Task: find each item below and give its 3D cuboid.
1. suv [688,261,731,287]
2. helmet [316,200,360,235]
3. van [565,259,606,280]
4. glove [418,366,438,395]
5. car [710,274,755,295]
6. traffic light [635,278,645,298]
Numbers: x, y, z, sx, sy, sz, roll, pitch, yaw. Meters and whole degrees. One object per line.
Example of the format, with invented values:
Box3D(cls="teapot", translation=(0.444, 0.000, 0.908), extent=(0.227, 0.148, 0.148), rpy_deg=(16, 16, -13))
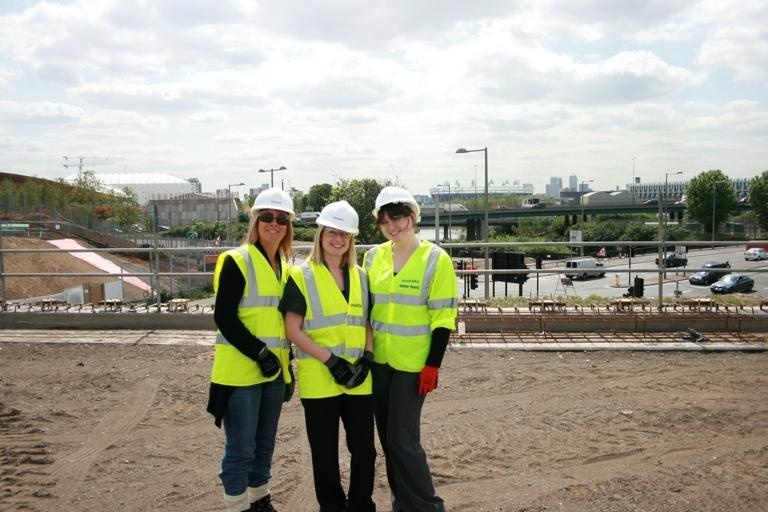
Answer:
Box3D(cls="suv", translation=(13.839, 0.825, 29.471), extent=(2.239, 0.824, 1.081), rpy_deg=(-6, 4, -36))
Box3D(cls="helmet", translation=(-0.494, -0.424, 7.831), extent=(0.369, 0.227, 0.448), rpy_deg=(14, 0, -2))
Box3D(cls="van", translation=(8.587, 0.547, 29.536), extent=(1.072, 0.789, 1.976), rpy_deg=(6, 11, 44))
Box3D(cls="glove", translation=(0.505, 1.384, 7.794), extent=(0.232, 0.334, 0.106), rpy_deg=(-2, 3, -18))
Box3D(cls="car", translation=(15.239, 1.242, 30.283), extent=(2.226, 0.671, 0.905), rpy_deg=(0, -1, -38))
Box3D(cls="traffic light", translation=(6.183, 0.734, 16.844), extent=(0.155, 0.473, 0.461), rpy_deg=(0, 3, 15))
